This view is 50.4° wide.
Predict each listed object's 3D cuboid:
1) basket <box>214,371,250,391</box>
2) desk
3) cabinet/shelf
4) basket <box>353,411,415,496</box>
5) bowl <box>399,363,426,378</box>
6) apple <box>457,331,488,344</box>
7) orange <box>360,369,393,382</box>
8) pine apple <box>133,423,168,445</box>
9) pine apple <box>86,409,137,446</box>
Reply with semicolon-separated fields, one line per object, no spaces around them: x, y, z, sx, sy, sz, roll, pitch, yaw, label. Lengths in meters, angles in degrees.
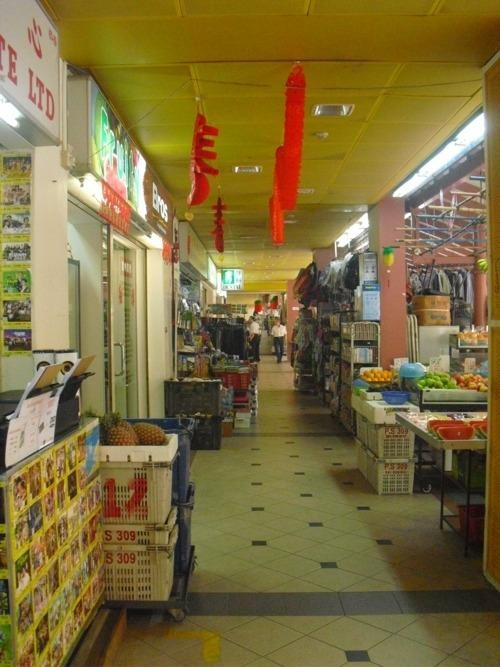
-0.225;0.722;8.302;0.528;0.285;0.361;-1;0;-7;basket
1.511;1.007;3.803;0.545;0.795;1.074;2;2;0;desk
1.428;0.510;7.175;0.408;1.297;0.926;2;1;-1;cabinet/shelf
1.231;1.117;4.946;0.422;0.577;0.681;2;3;-4;basket
1.535;0.359;5.101;0.166;0.095;0.162;1;-3;0;bowl
2.842;0.072;6.814;0.343;0.133;0.334;0;1;19;apple
1.352;0.450;5.636;0.357;0.116;0.297;0;1;10;orange
-0.524;0.528;2.762;0.159;0.092;0.092;10;10;23;pine apple
-0.714;0.487;2.725;0.211;0.166;0.256;3;4;1;pine apple
